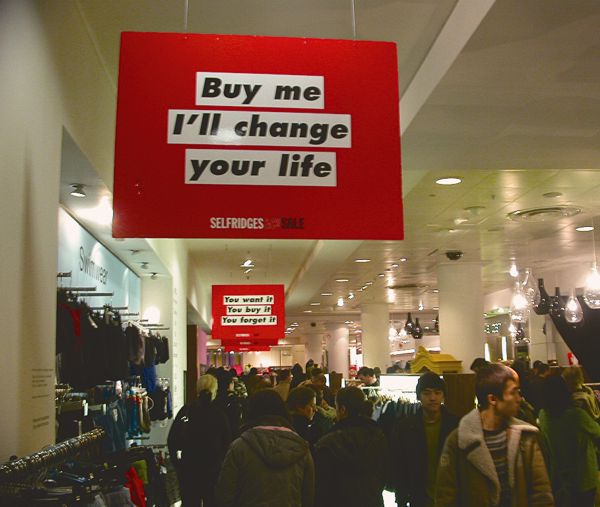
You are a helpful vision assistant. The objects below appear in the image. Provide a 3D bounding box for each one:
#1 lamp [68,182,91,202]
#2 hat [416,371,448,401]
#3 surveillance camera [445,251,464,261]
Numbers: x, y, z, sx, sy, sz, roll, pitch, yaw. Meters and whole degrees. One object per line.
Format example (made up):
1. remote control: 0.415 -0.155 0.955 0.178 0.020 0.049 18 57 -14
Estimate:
1. lamp: -1.845 -0.523 4.185 0.119 0.061 0.121 -2 -12 -8
2. hat: 0.946 0.954 3.630 0.181 0.158 0.194 0 -12 0
3. surveillance camera: 3.177 0.025 10.421 0.350 0.150 0.717 -5 -3 16
